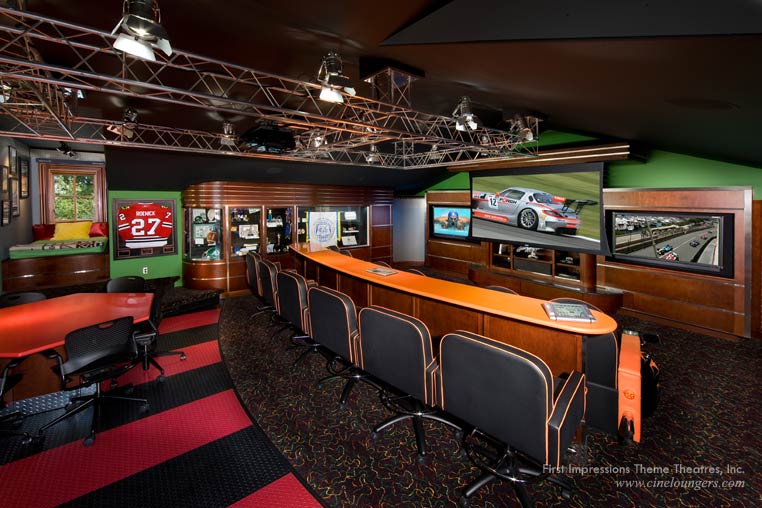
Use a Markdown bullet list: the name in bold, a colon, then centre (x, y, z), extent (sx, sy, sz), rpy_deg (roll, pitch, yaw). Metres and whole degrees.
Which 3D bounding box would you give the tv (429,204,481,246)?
- **tv**: centre (1.888, -0.852, 11.681), extent (1.448, 0.898, 0.024), rpy_deg (0, 0, -33)

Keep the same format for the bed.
- **bed**: centre (-6.589, -0.364, 9.232), extent (1.795, 0.540, 1.805), rpy_deg (-3, 10, -14)

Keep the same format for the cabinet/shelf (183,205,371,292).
- **cabinet/shelf**: centre (-2.215, -0.426, 10.606), extent (5.042, 2.095, 0.933), rpy_deg (-7, 13, -44)

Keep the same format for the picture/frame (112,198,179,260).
- **picture/frame**: centre (-4.958, -0.556, 9.110), extent (1.446, 1.324, 0.115), rpy_deg (-3, 8, -34)

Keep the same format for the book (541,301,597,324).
- **book**: centre (1.901, 0.574, 4.486), extent (0.464, 0.103, 0.483), rpy_deg (3, 10, 14)

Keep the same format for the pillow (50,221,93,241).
- **pillow**: centre (-6.823, -0.535, 9.699), extent (0.623, 0.495, 0.180), rpy_deg (-2, -14, -34)
